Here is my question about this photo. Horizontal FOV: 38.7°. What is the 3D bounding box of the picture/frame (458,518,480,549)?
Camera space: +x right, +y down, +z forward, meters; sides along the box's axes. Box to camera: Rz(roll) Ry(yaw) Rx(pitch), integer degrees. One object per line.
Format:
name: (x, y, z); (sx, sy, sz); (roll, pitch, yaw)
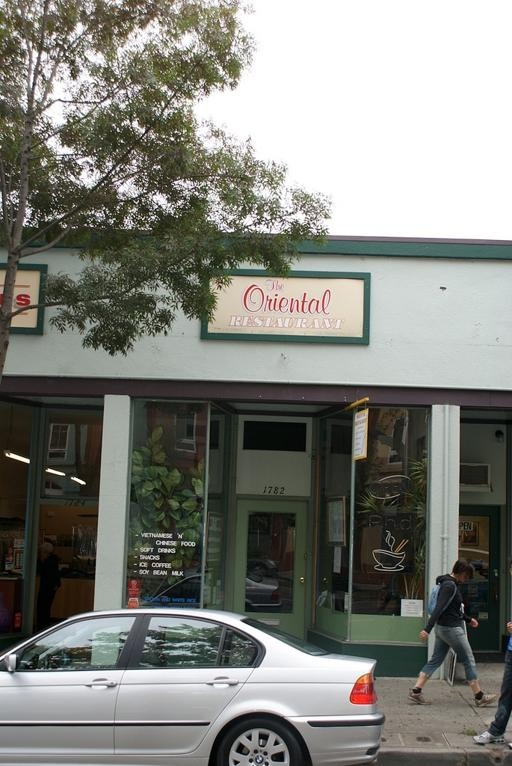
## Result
picture/frame: (3.339, 2.346, 11.548); (0.339, 0.494, 0.096); (5, -8, -17)
